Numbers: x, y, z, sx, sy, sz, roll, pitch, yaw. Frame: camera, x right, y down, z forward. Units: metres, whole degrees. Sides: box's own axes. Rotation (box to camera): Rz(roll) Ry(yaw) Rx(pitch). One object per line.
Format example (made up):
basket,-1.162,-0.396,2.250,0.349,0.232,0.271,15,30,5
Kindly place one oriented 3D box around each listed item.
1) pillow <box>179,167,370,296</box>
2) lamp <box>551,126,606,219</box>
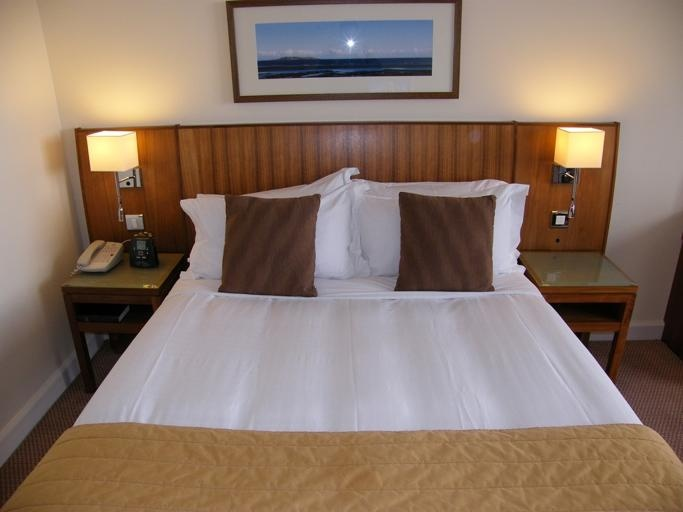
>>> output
pillow,-0.343,-0.131,2.696,0.690,0.490,0.200,-5,-17,0
lamp,1.457,-0.516,2.935,0.254,0.595,0.231,3,24,21
